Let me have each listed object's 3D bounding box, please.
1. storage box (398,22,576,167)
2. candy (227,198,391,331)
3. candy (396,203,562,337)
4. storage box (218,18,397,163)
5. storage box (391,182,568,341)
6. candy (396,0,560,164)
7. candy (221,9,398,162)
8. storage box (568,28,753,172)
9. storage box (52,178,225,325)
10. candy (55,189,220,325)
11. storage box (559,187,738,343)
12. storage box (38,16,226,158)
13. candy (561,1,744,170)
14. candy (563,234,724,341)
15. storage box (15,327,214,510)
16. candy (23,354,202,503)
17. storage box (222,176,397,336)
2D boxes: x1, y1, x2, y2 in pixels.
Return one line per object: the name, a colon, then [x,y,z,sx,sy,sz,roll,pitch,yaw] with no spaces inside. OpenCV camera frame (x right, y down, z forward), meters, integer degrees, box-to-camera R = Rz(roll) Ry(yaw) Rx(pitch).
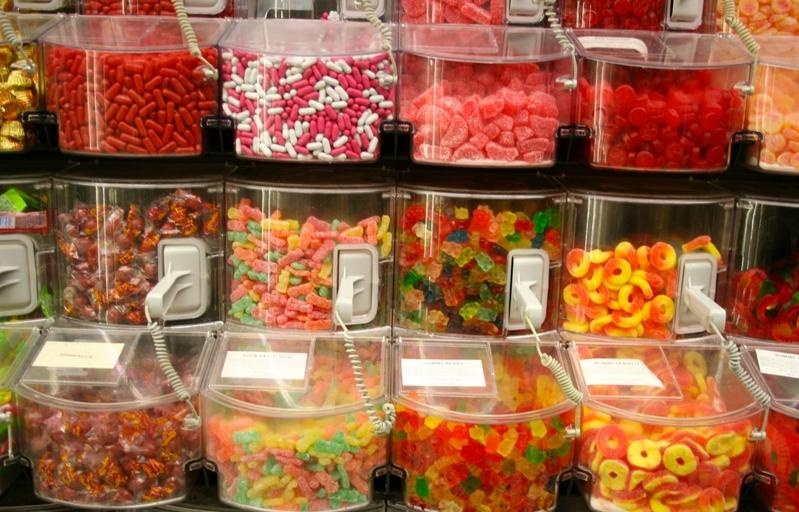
storage box: [0.337,-0.618,2.251,0.628,0.489,0.373,7,37,12]
candy: [-0.339,-0.016,2.351,0.489,0.378,0.489,2,4,20]
candy: [0.299,0.003,2.303,0.499,0.410,0.486,3,6,30]
storage box: [-0.317,-0.552,2.085,0.499,0.380,0.497,-5,10,-37]
storage box: [0.318,0.015,2.506,0.643,0.549,0.693,-1,4,-35]
candy: [0.285,-0.539,2.219,0.694,0.514,0.417,0,7,-4]
candy: [-0.320,-0.604,2.178,0.614,0.510,0.298,-1,11,-1]
storage box: [0.907,-0.534,2.166,0.592,0.438,0.462,1,8,-2]
storage box: [-0.992,-0.015,2.374,0.618,0.580,0.372,2,6,-4]
candy: [-0.984,-0.061,2.371,0.493,0.408,0.522,-1,9,-10]
storage box: [0.949,0.037,2.370,0.614,0.573,0.371,2,2,21]
storage box: [-0.986,-0.634,2.240,0.575,0.401,0.434,-2,32,-15]
candy: [0.907,-0.577,2.199,0.418,0.346,0.575,0,13,-3]
candy: [0.857,0.117,2.205,0.470,0.373,0.227,3,-7,4]
storage box: [-0.996,0.527,2.292,0.779,0.680,0.497,0,5,1]
candy: [-0.968,0.577,2.089,0.455,0.306,0.471,7,11,23]
storage box: [-0.325,-0.015,2.528,0.657,0.545,0.709,0,4,-14]
